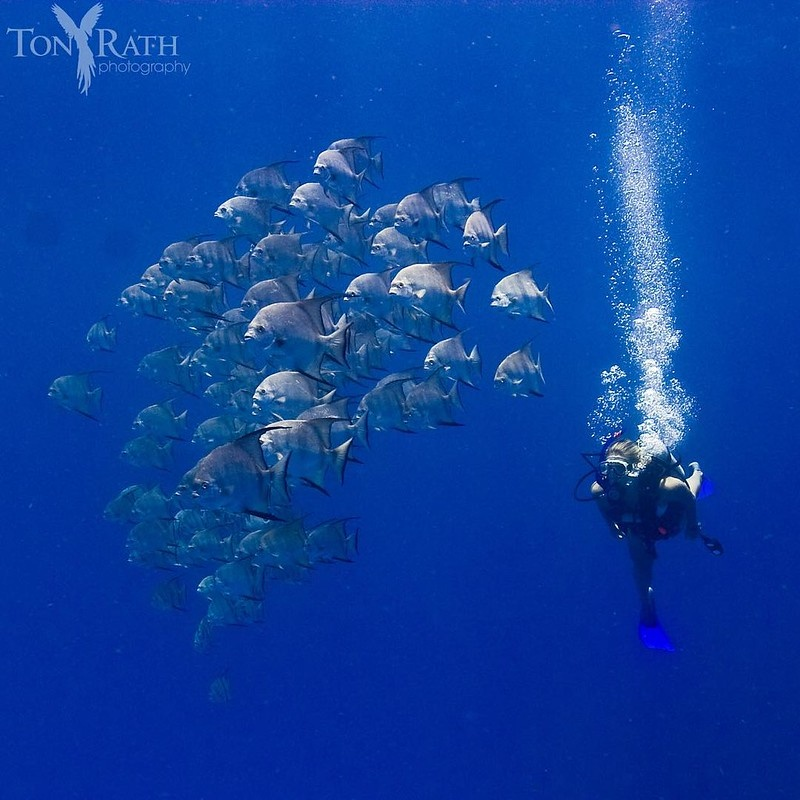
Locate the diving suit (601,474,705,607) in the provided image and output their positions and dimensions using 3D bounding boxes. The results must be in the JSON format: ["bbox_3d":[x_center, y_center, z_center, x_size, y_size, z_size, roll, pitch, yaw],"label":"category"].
[{"bbox_3d":[2.856,1.339,17.850,0.863,2.186,1.009,-7,12,13],"label":"diving suit"}]
